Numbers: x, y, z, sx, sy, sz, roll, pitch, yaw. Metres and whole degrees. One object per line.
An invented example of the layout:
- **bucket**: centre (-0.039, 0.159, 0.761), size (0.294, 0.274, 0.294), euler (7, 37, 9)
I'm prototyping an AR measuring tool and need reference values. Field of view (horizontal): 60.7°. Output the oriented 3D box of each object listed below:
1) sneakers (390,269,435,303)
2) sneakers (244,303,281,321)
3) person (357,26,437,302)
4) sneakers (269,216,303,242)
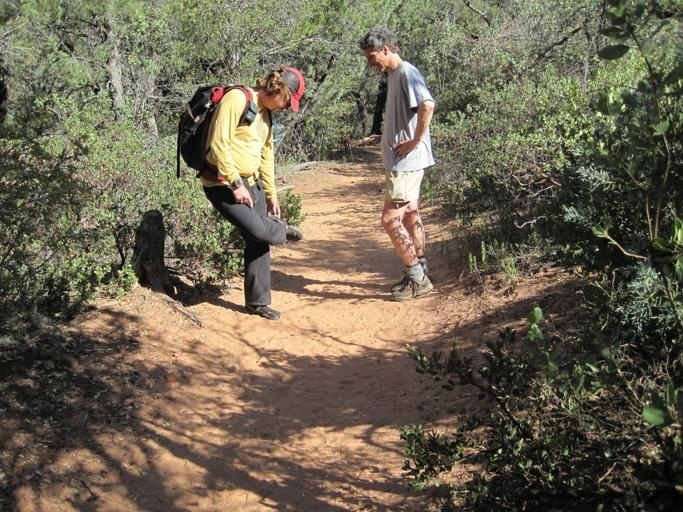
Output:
- **sneakers**: centre (0.827, 0.356, 6.934), size (0.478, 0.296, 0.246), euler (-8, 12, -10)
- **sneakers**: centre (-0.907, 0.649, 6.765), size (0.341, 0.147, 0.176), euler (10, 21, 10)
- **person**: centre (0.690, -0.944, 6.442), size (0.748, 2.998, 0.484), euler (1, 15, 22)
- **sneakers**: centre (-0.659, -0.302, 6.993), size (0.142, 0.214, 0.486), euler (2, 20, 11)
